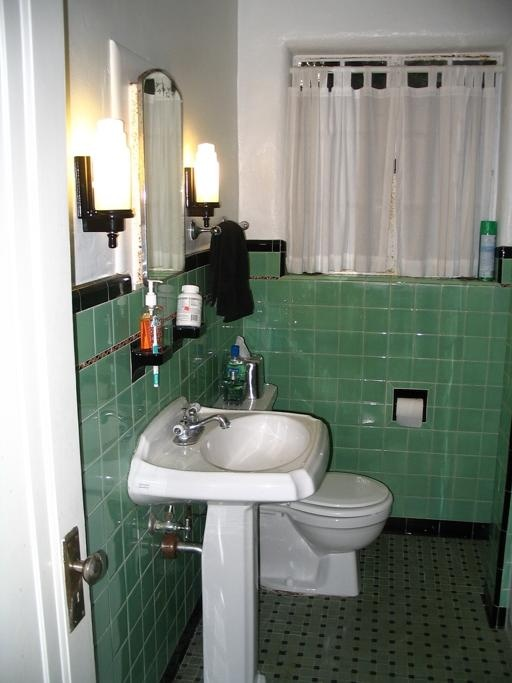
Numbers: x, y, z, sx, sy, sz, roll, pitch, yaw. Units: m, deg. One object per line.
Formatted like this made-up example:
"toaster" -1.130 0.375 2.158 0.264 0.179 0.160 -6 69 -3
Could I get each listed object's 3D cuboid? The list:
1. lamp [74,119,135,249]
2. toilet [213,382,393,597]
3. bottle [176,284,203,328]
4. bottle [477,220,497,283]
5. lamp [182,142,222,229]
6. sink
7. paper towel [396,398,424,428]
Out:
"lamp" -0.353 -0.374 1.275 0.123 0.290 0.091 -2 30 -14
"toilet" 0.289 0.726 2.921 0.972 1.201 0.601 0 12 5
"bottle" -0.237 -0.123 1.920 0.090 0.146 0.120 -2 9 -9
"bottle" 1.203 -0.471 2.841 0.086 0.303 0.079 0 8 0
"lamp" -0.221 -0.618 2.171 0.158 0.315 0.097 -5 10 -28
"sink" -0.050 0.344 1.792 0.558 0.230 0.598 1 10 10
"paper towel" 0.807 0.373 2.876 0.134 0.151 0.036 2 9 14
